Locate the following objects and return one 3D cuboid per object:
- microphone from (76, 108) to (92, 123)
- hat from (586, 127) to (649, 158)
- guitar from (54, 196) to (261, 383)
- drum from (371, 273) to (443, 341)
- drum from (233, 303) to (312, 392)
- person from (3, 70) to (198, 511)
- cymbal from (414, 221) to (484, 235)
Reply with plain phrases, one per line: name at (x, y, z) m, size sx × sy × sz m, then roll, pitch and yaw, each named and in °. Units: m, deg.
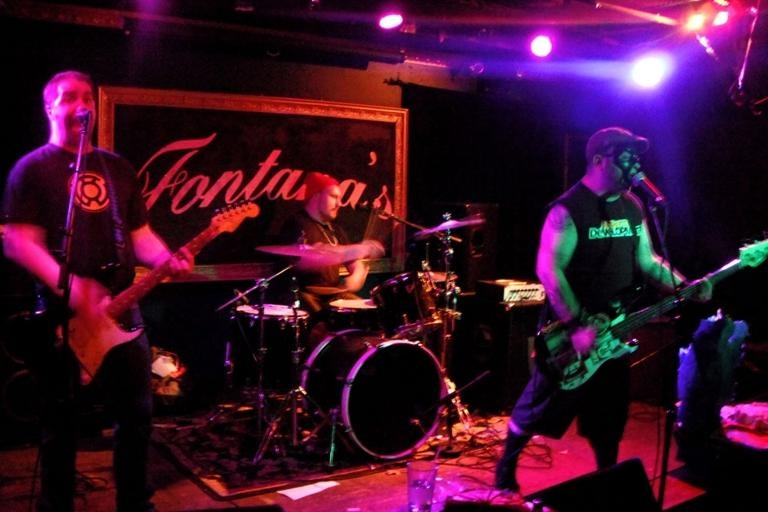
microphone at (-1.818, -0.850, 4.134) m, size 0.080 × 0.090 × 0.108 m, roll -12°, pitch 18°, yaw -44°
hat at (1.593, -0.797, 4.718) m, size 0.351 × 0.162 × 0.246 m, roll -20°, pitch 7°, yaw 10°
guitar at (-1.478, 0.300, 4.170) m, size 1.926 × 0.640 × 0.202 m, roll -42°, pitch 20°, yaw 20°
drum at (0.160, 0.388, 5.465) m, size 0.577 × 0.383 × 0.534 m, roll -19°, pitch -16°, yaw -6°
drum at (-0.922, 0.787, 5.828) m, size 0.793 × 0.688 × 0.753 m, roll 3°, pitch 5°, yaw -37°
person at (-1.785, 0.365, 4.372) m, size 1.108 × 2.999 × 0.792 m, roll -3°, pitch 16°, yaw -15°
cymbal at (0.524, -0.249, 5.691) m, size 0.323 × 0.064 × 0.308 m, roll -11°, pitch 2°, yaw -9°
